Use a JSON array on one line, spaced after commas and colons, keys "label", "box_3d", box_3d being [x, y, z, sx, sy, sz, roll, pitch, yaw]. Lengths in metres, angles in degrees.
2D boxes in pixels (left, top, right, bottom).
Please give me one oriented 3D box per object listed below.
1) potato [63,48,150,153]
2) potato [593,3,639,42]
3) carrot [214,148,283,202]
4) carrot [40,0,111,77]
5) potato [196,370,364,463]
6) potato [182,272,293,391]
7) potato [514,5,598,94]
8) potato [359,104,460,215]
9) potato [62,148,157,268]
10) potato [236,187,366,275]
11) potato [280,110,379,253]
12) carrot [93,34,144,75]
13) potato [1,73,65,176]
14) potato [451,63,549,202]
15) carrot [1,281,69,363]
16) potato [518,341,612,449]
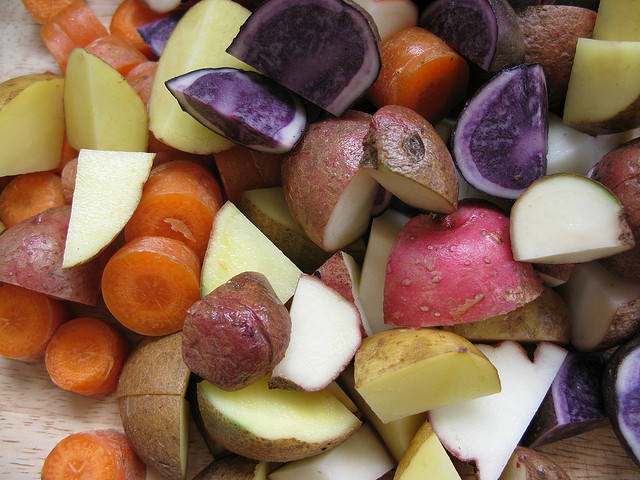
[{"label": "potato", "box_3d": [-0.541, -0.326, 1.716, 0.252, 0.107, 0.226, 20, 85, 7]}, {"label": "potato", "box_3d": [0.713, -0.524, 1.632, 0.086, 0.092, 0.105, 5, 96, -14]}, {"label": "carrot", "box_3d": [-0.184, -0.176, 1.790, 0.127, 0.037, 0.140, -2, 101, -1]}, {"label": "carrot", "box_3d": [-0.710, -0.589, 1.979, 0.189, 0.067, 0.214, -37, 106, -15]}, {"label": "potato", "box_3d": [-0.095, 0.408, 1.583, 0.274, 0.249, 0.101, 36, 106, 9]}, {"label": "potato", "box_3d": [-0.179, 0.213, 1.544, 0.212, 0.164, 0.270, 17, 59, 13]}, {"label": "potato", "box_3d": [0.580, -0.481, 1.735, 0.176, 0.169, 0.163, 6, 96, -1]}, {"label": "potato", "box_3d": [0.170, -0.182, 1.551, 0.128, 0.232, 0.243, -26, 51, 26]}, {"label": "potato", "box_3d": [-0.506, -0.072, 1.630, 0.169, 0.056, 0.299, 4, 83, 6]}, {"label": "potato", "box_3d": [-0.050, -0.017, 1.752, 0.244, 0.116, 0.250, 8, 46, -34]}, {"label": "potato", "box_3d": [0.021, -0.144, 1.601, 0.128, 0.243, 0.204, 23, 71, 30]}, {"label": "carrot", "box_3d": [-0.544, -0.500, 1.820, 0.113, 0.044, 0.125, -34, 80, -36]}, {"label": "potato", "box_3d": [-0.739, -0.289, 1.761, 0.120, 0.155, 0.271, 7, 83, 6]}, {"label": "potato", "box_3d": [0.506, -0.241, 1.678, 0.385, 0.097, 0.361, -13, 108, -25]}, {"label": "carrot", "box_3d": [-0.735, 0.205, 1.788, 0.164, 0.112, 0.187, 8, 97, 7]}, {"label": "potato", "box_3d": [0.600, 0.374, 1.682, 0.236, 0.098, 0.273, -7, 99, -17]}]
